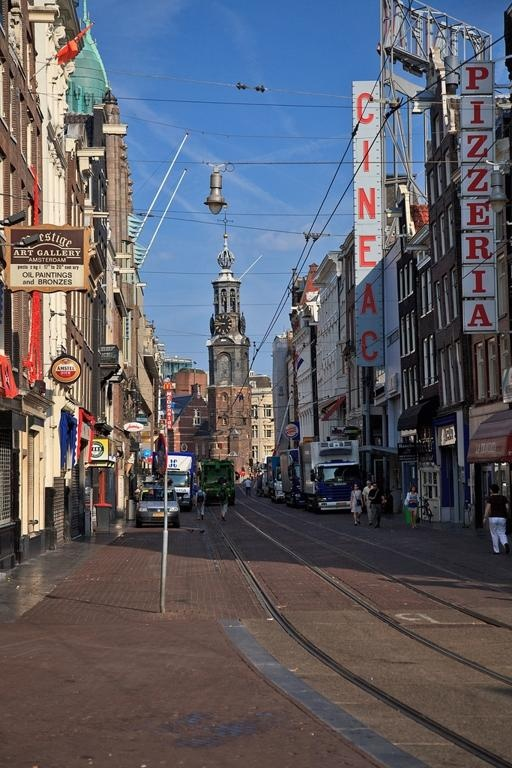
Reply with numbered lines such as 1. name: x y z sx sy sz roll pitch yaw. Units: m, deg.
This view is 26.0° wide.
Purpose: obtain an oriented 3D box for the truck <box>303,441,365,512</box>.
1. truck: 3.364 4.025 49.908 1.408 2.496 4.301 0 -6 -4

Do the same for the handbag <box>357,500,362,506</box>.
1. handbag: 3.506 4.001 37.520 0.128 0.165 0.269 -3 -5 2

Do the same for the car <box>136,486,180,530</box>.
1. car: -3.506 4.034 39.743 1.658 1.790 3.798 0 -9 -3
